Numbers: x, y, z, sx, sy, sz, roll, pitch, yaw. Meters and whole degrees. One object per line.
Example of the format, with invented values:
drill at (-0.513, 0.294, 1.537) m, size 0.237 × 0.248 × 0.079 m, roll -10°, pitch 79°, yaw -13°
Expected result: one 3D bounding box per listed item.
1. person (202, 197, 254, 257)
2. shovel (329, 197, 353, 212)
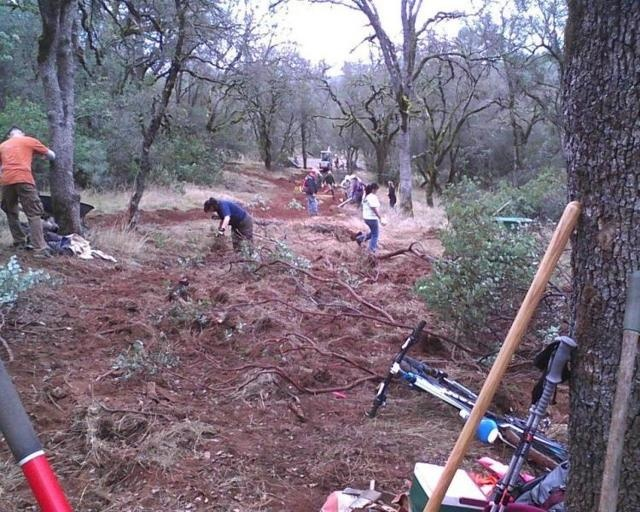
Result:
person at (-1.683, -0.681, 10.164) m, size 0.810 × 1.008 × 3.017 m, roll 3°, pitch 12°, yaw -10°
shovel at (0.780, -1.894, 20.038) m, size 0.977 × 0.169 × 0.384 m, roll -20°, pitch 67°, yaw -28°
